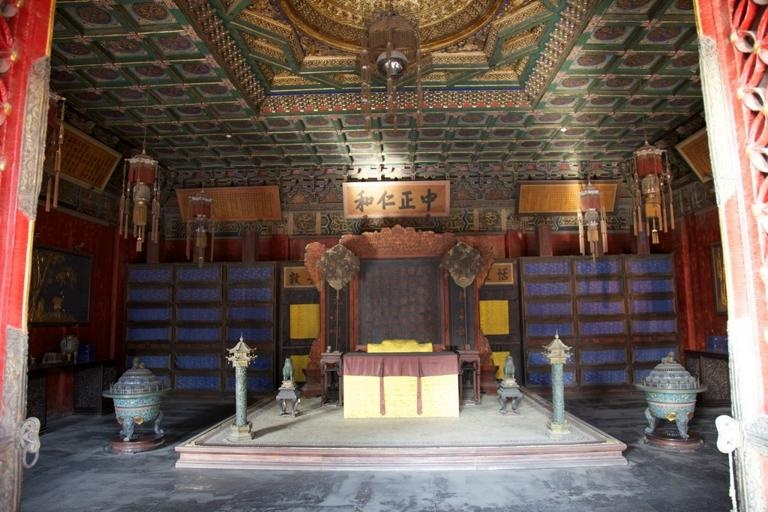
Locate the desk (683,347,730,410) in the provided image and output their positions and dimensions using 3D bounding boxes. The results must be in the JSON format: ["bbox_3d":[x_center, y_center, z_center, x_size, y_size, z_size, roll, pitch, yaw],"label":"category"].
[{"bbox_3d":[5.854,2.057,9.661,0.524,0.941,1.086,3,15,12],"label":"desk"}]

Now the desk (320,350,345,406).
[{"bbox_3d":[-0.878,2.146,9.576,0.490,0.763,0.955,-1,-10,1],"label":"desk"}]

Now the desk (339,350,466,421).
[{"bbox_3d":[0.253,2.022,8.887,2.134,0.731,1.114,0,3,3],"label":"desk"}]

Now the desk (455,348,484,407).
[{"bbox_3d":[1.444,2.069,9.171,0.459,0.815,1.030,-1,-10,4],"label":"desk"}]

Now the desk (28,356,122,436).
[{"bbox_3d":[-5.004,2.280,8.681,0.692,0.793,1.642,-1,-6,12],"label":"desk"}]
